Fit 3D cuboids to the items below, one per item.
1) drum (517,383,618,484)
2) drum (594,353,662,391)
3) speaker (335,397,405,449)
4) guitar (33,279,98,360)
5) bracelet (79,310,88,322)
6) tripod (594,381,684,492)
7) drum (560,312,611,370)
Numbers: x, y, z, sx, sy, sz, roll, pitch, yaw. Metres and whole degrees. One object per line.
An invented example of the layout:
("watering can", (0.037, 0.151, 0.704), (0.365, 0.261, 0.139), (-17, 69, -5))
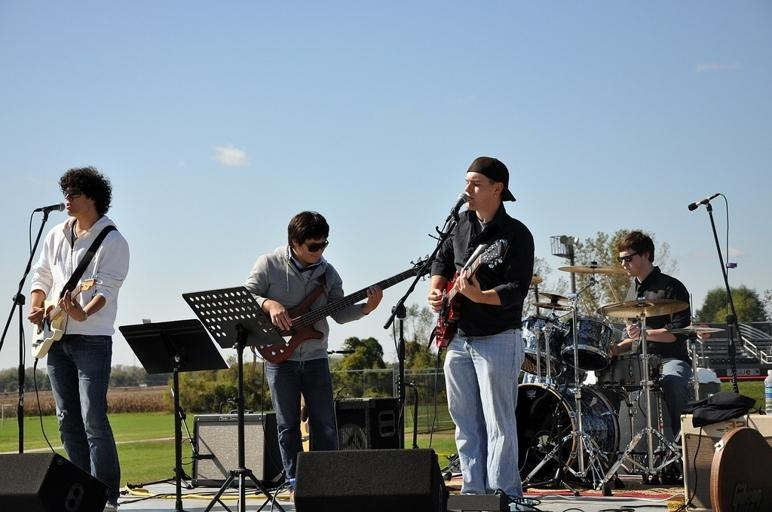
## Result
("drum", (2.719, 2.741, 14.226), (1.191, 1.647, 2.199), (-5, 6, 5))
("drum", (3.906, 1.874, 14.706), (0.556, 0.615, 0.808), (6, -8, -40))
("speaker", (-0.277, 2.608, 14.425), (1.108, 1.243, 0.716), (-3, -10, 18))
("guitar", (-4.508, 0.863, 12.513), (0.969, 1.006, 0.269), (-7, -9, 21))
("bracelet", (-4.155, 0.800, 12.380), (0.105, 0.167, 0.037), (0, -2, -8))
("tripod", (4.150, 2.814, 14.075), (1.347, 2.244, 1.557), (0, -7, 9))
("drum", (3.226, 1.285, 14.437), (0.768, 0.766, 0.845), (0, -33, 37))
